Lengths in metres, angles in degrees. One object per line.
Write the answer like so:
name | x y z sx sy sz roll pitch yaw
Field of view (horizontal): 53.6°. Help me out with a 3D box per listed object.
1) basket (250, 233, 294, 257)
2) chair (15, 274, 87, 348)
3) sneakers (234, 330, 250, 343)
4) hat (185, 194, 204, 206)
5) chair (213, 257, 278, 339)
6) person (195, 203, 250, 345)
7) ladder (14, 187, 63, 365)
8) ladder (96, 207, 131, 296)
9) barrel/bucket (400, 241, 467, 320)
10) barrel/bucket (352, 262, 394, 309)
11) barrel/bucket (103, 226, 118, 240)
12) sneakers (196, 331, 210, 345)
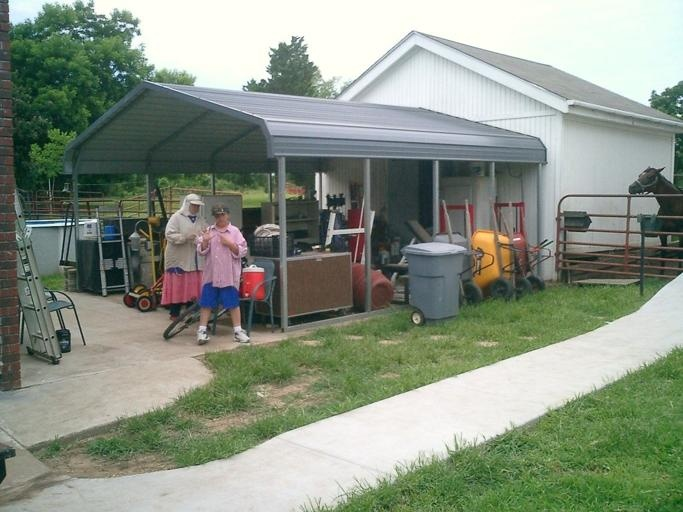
basket | -1.131 -0.163 10.845 0.300 0.361 1.056 -5 5 -41
chair | -4.075 0.789 9.790 0.492 0.797 0.540 3 3 14
sneakers | -1.461 1.177 9.872 0.109 0.141 0.295 2 -5 -45
hat | -2.401 -0.893 10.908 0.204 0.155 0.280 5 -5 -26
chair | -1.328 0.394 10.409 0.807 1.225 0.882 14 -12 -6
person | -1.737 0.273 9.785 0.757 1.975 0.362 -2 4 -13
ladder | -3.985 0.296 8.835 0.467 2.219 0.625 -3 5 -26
ladder | -4.778 -0.073 14.071 0.606 1.766 0.711 -3 4 -21
barrel/bucket | 1.443 0.433 10.611 0.917 1.237 0.465 -1 4 4
barrel/bucket | 0.484 0.536 11.791 0.536 0.796 0.746 2 5 37
barrel/bucket | -4.802 -0.478 13.984 0.306 0.277 0.264 -3 4 -21
sneakers | -2.011 1.159 9.799 0.163 0.193 0.263 -2 4 -12
